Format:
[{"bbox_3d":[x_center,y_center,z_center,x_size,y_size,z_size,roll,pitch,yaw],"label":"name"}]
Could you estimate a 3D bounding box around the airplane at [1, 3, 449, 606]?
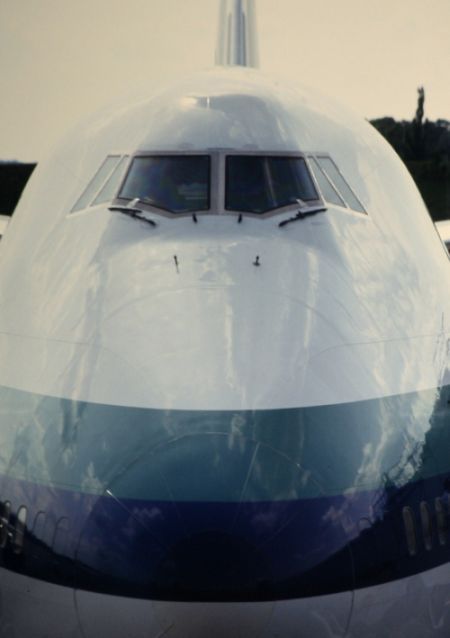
[{"bbox_3d":[-0.066,-0.164,5.504,2.900,3.644,1.927,0,-9,14],"label":"airplane"}]
